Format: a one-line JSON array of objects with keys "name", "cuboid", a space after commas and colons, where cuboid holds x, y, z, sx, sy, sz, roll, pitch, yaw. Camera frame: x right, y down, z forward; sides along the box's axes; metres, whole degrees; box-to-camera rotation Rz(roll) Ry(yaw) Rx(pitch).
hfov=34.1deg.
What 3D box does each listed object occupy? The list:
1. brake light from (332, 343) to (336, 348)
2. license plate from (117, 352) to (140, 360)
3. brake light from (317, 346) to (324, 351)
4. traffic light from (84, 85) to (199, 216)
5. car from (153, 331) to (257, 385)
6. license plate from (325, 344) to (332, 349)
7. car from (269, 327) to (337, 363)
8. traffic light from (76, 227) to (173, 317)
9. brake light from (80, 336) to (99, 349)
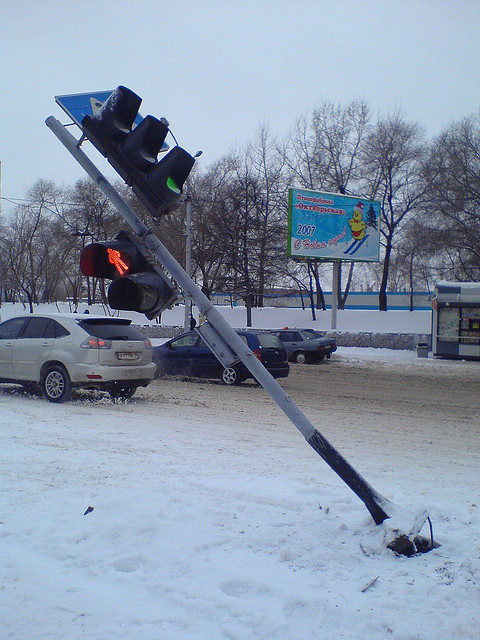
[{"name": "brake light", "cuboid": [2.791, 0.747, 23.352, 0.098, 0.175, 0.182, 0, 2, 35]}, {"name": "license plate", "cuboid": [-1.593, 0.507, 11.222, 0.037, 0.136, 0.480, 6, 8, 31]}, {"name": "brake light", "cuboid": [2.342, 0.813, 22.651, 0.243, 0.131, 0.060, -4, 9, -41]}, {"name": "traffic light", "cuboid": [-0.609, -1.110, 5.159, 0.587, 0.809, 0.800, -2, 8, -31]}, {"name": "car", "cuboid": [-0.887, 0.815, 15.485, 1.750, 0.858, 0.987, 7, 5, 26]}, {"name": "license plate", "cuboid": [2.588, 0.767, 22.905, 0.038, 0.113, 0.157, 5, -4, -35]}, {"name": "car", "cuboid": [1.803, 0.794, 23.296, 2.033, 0.756, 0.939, 6, 9, 34]}, {"name": "traffic light", "cuboid": [-0.715, -0.309, 5.005, 0.570, 0.546, 0.484, 1, 7, -5]}, {"name": "brake light", "cuboid": [-2.047, 0.307, 10.725, 0.217, 0.068, 0.140, 6, 32, 0]}]
